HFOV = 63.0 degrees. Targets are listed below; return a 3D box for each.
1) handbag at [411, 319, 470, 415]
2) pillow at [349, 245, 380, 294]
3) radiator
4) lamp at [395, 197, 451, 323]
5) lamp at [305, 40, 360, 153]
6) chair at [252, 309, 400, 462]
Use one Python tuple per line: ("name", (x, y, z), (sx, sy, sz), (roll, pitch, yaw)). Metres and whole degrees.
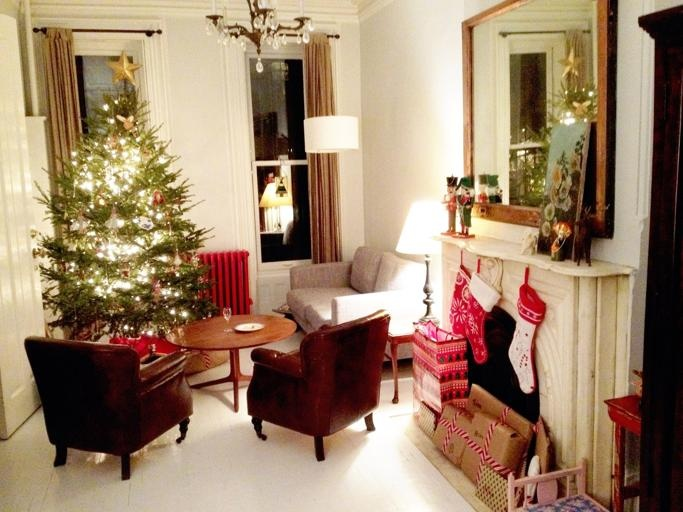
("handbag", (0.739, 0.810, 4.163), (0.309, 0.599, 0.505), (-5, 14, -17))
("pillow", (0.245, 0.154, 5.969), (0.191, 0.418, 0.450), (5, 45, -2))
("radiator", (-1.307, 0.276, 5.980), (0.621, 0.711, 0.093), (-4, 16, -14))
("lamp", (0.673, 0.072, 4.671), (0.390, 1.120, 0.825), (1, 14, 10))
("lamp", (-0.093, -1.229, 5.093), (0.445, 0.849, 0.467), (-2, 10, 2))
("chair", (-0.128, 0.751, 4.280), (0.987, 1.170, 0.901), (7, 9, 40))
